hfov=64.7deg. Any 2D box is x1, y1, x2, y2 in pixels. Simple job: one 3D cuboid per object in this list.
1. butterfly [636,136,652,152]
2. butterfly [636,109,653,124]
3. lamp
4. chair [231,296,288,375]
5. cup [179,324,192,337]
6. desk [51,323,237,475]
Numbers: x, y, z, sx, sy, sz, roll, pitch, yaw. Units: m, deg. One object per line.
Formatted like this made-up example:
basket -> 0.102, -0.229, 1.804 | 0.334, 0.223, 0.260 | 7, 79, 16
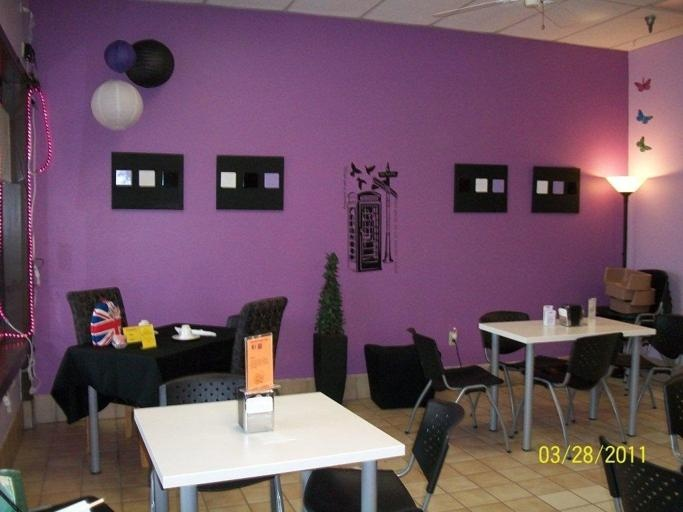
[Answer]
butterfly -> 3.807, -1.402, 6.738 | 0.048, 0.198, 0.211 | -2, 7, -14
butterfly -> 3.794, -1.742, 6.703 | 0.047, 0.186, 0.210 | -3, 8, -25
lamp -> 3.592, -0.437, 6.839 | 0.427, 1.170, 0.339 | -2, 7, -21
chair -> -0.631, 0.662, 4.524 | 0.521, 0.825, 0.551 | 4, -7, -24
cup -> -1.310, 0.620, 4.495 | 0.088, 0.092, 0.092 | 1, -6, 0
desk -> -1.553, 0.849, 4.614 | 0.946, 0.704, 1.425 | 5, 19, 13
